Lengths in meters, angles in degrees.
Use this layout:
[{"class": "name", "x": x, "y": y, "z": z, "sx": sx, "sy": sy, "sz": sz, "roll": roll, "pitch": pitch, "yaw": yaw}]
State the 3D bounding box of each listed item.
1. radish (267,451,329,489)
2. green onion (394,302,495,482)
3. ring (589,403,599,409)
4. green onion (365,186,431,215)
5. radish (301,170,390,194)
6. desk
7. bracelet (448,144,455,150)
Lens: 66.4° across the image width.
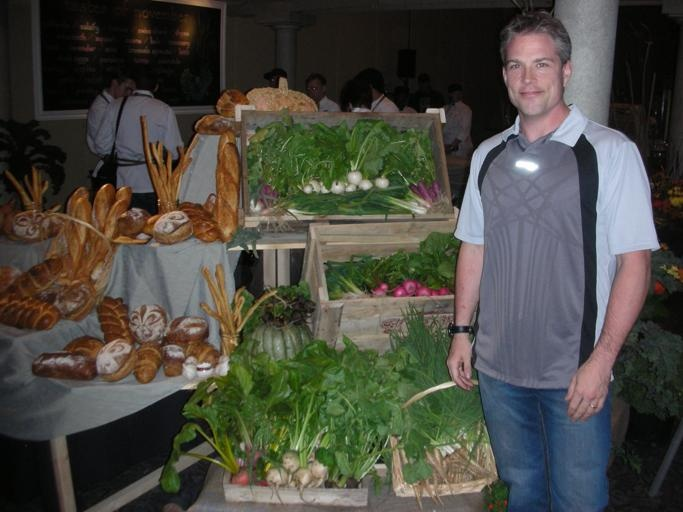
[{"class": "radish", "x": -0.196, "y": 0.991, "z": 2.384, "sx": 0.250, "sy": 0.148, "sz": 0.148, "roll": 5, "pitch": -38, "yaw": 4}, {"class": "green onion", "x": 0.447, "y": 0.694, "z": 2.674, "sx": 0.515, "sy": 0.681, "sz": 0.259, "roll": -9, "pitch": -30, "yaw": -1}, {"class": "ring", "x": 0.848, "y": 0.506, "z": 1.754, "sx": 0.018, "sy": 0.020, "sz": 0.006, "roll": 22, "pitch": 5, "yaw": -12}, {"class": "green onion", "x": 0.373, "y": -0.391, "z": 3.676, "sx": 0.431, "sy": 0.187, "sz": 0.314, "roll": 9, "pitch": 13, "yaw": 39}, {"class": "radish", "x": 0.067, "y": -0.520, "z": 3.660, "sx": 0.483, "sy": 0.209, "sz": 0.278, "roll": -3, "pitch": 15, "yaw": -13}, {"class": "desk", "x": -0.530, "y": 0.040, "z": 3.584, "sx": 0.413, "sy": 0.472, "sz": 0.272, "roll": -3, "pitch": -8, "yaw": -1}, {"class": "bracelet", "x": 1.706, "y": -1.689, "z": 8.131, "sx": 0.050, "sy": 0.096, "sz": 0.114, "roll": 6, "pitch": 2, "yaw": -19}]
